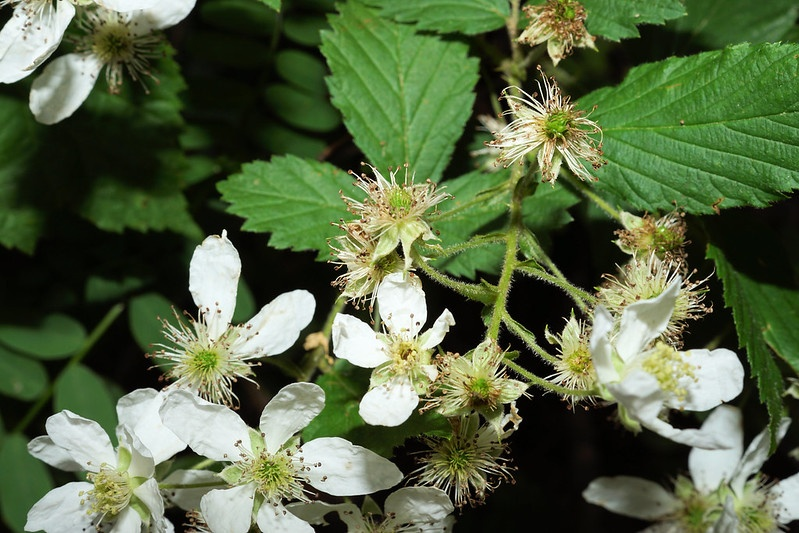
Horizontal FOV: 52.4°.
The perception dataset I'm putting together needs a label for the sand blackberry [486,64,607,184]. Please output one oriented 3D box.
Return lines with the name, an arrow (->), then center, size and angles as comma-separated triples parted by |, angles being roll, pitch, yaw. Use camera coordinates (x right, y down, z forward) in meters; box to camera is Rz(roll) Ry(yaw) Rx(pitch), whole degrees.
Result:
sand blackberry -> 0.581, -0.499, 3.066 | 0.365, 0.381, 0.179 | 9, 75, -29
